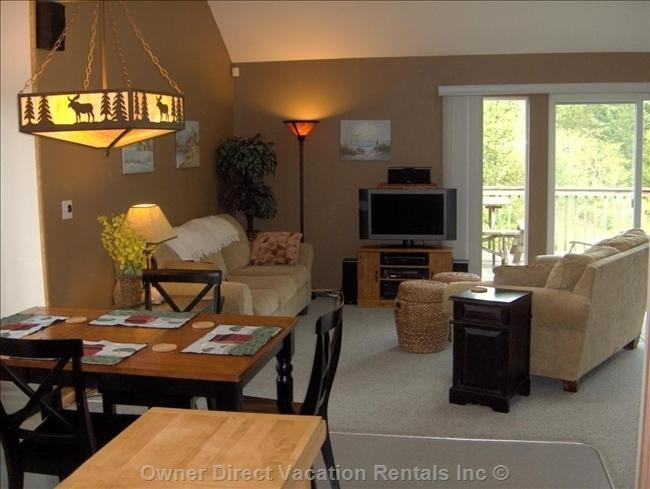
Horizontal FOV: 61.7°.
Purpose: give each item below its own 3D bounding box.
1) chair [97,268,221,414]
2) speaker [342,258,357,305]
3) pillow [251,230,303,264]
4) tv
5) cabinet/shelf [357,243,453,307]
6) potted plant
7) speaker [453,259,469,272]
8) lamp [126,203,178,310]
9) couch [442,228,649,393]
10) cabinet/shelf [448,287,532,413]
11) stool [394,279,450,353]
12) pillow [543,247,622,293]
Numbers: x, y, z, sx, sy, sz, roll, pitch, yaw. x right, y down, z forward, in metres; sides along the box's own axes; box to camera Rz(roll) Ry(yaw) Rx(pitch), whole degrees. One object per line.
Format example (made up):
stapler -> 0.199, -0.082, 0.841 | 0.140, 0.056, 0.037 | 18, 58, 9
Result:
chair -> -0.966, 0.652, 3.332 | 0.634, 0.907, 0.635 | 3, 3, 21
speaker -> 0.301, 0.461, 6.691 | 0.168, 0.532, 0.107 | 2, 10, 13
pillow -> -0.590, 0.055, 6.418 | 0.590, 0.179, 0.605 | -8, -22, -17
tv -> 1.013, -0.356, 6.710 | 1.166, 0.708, 0.167 | 1, 10, 6
cabinet/shelf -> 0.962, 0.431, 6.657 | 1.143, 0.716, 0.396 | 1, -7, 4
potted plant -> -1.422, 0.099, 3.858 | 0.305, 0.578, 0.252 | -3, 2, -33
speaker -> 1.670, 0.257, 6.758 | 0.232, 0.216, 0.125 | -1, -1, 7
lamp -> -1.419, 0.028, 4.370 | 0.391, 0.729, 0.430 | 10, 25, 14
couch -> 1.876, 0.093, 4.545 | 1.151, 1.148, 2.016 | 4, 6, 40
cabinet/shelf -> 1.220, 0.748, 3.967 | 0.506, 0.755, 0.501 | 0, 1, 45
stool -> 0.913, 0.677, 5.131 | 0.628, 0.599, 0.481 | 6, 3, -28
pillow -> 1.963, 0.167, 4.196 | 0.320, 0.272, 0.666 | 8, 12, 41
